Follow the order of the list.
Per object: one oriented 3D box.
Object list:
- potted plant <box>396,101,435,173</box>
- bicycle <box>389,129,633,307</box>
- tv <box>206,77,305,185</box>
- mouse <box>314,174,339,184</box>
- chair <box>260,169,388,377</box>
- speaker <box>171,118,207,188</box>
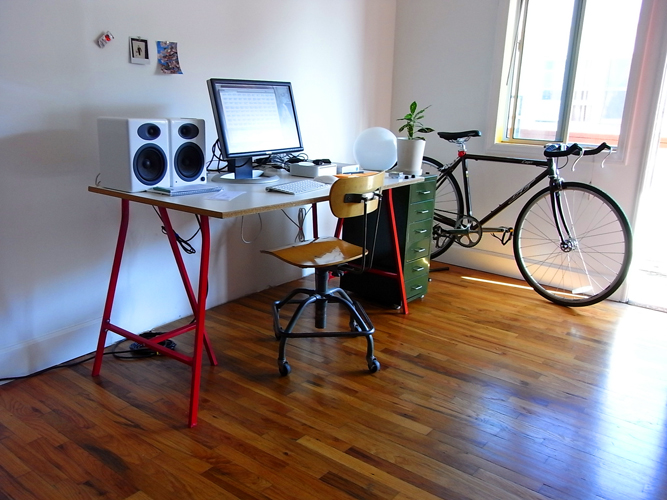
[{"bbox_3d":[0.516,-0.759,3.345,0.321,0.474,0.258,2,11,15],"label":"potted plant"},{"bbox_3d":[1.284,-0.338,3.969,0.529,1.183,2.195,-16,26,-41],"label":"bicycle"},{"bbox_3d":[-0.492,-0.710,2.882,0.305,0.563,0.652,13,21,34],"label":"tv"},{"bbox_3d":[-0.043,-0.403,2.746,0.084,0.025,0.096,16,21,32],"label":"mouse"},{"bbox_3d":[-0.039,0.093,2.802,0.729,1.058,0.747,18,14,38],"label":"chair"},{"bbox_3d":[-0.732,-0.513,2.582,0.251,0.337,0.236,-3,4,-11],"label":"speaker"}]
